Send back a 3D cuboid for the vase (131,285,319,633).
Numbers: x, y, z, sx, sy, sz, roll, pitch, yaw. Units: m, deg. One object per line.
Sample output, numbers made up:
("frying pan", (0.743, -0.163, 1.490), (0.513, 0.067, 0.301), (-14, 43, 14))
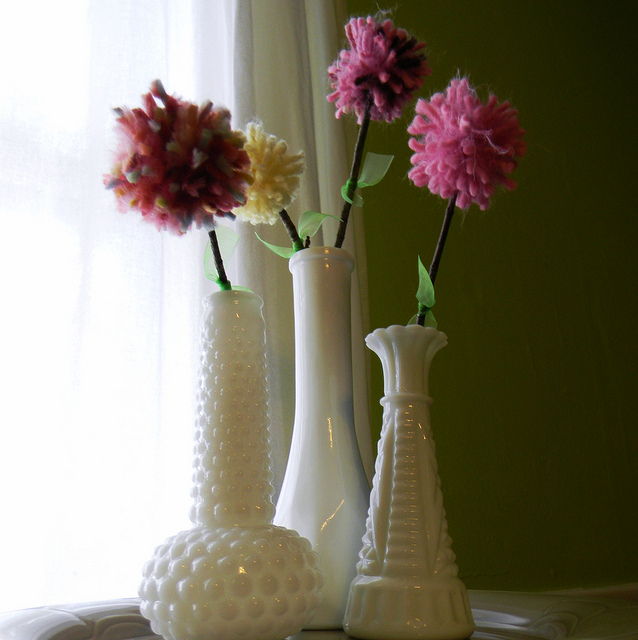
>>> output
("vase", (-0.103, 0.144, 0.872), (0.170, 0.302, 0.168), (2, -1, -29))
